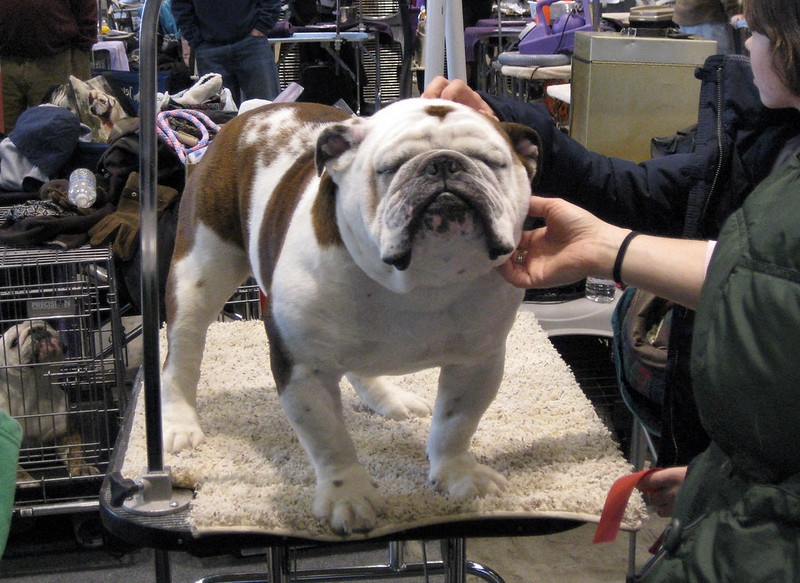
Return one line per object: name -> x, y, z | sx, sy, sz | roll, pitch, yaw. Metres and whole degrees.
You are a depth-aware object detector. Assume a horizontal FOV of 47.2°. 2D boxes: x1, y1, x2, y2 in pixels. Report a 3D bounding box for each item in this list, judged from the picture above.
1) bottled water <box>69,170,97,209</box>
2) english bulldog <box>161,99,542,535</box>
bottled water -> -1.341, -0.429, 3.876 | 0.114, 0.132, 0.213 | 0, 32, -14
english bulldog -> -0.167, -0.009, 2.429 | 0.701, 1.058, 1.117 | -8, 17, -40
